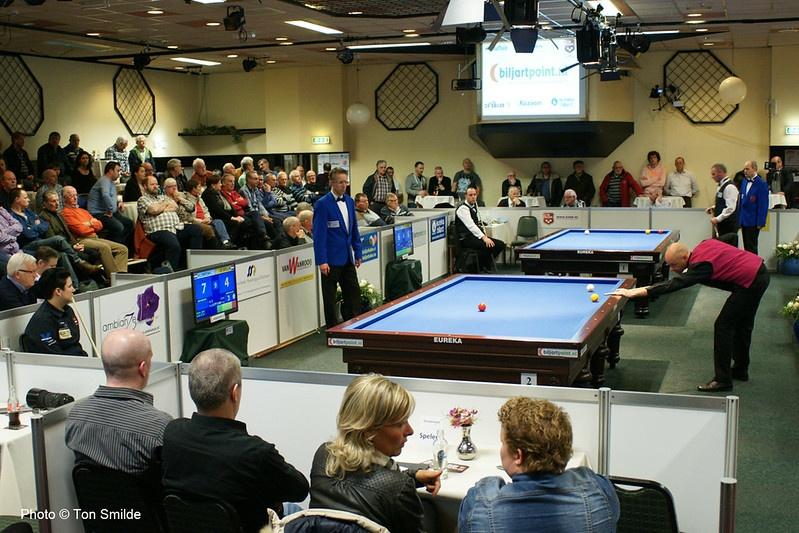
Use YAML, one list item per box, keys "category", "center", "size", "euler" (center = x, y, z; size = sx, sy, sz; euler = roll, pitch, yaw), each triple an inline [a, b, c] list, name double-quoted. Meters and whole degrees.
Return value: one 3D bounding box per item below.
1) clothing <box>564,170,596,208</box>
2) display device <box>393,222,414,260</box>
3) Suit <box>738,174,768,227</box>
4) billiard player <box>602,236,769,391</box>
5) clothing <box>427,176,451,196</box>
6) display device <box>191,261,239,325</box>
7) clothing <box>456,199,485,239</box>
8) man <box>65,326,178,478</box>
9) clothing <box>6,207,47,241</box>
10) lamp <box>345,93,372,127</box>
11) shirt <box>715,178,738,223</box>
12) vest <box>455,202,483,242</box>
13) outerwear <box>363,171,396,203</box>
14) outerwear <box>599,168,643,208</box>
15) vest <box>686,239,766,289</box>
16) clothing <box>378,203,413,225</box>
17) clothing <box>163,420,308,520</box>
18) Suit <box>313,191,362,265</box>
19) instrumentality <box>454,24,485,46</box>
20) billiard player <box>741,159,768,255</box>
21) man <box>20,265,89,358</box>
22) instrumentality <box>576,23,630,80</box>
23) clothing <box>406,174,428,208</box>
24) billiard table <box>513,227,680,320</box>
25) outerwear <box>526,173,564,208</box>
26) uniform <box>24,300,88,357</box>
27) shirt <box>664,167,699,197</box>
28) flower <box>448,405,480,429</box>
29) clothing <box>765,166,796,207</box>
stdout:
- category: "clothing"
  center: [4.468, -1.909, 16.472]
  size: [0.790, 0.978, 0.528]
  euler: [8, 34, 34]
- category: "display device"
  center: [0.054, -0.430, 10.830]
  size: [0.062, 0.533, 0.629]
  euler: [-1, 3, 23]
- category: "Suit"
  center: [6.203, -1.154, 11.679]
  size: [0.361, 0.875, 0.634]
  euler: [-6, 12, -16]
- category: "billiard player"
  center: [3.020, 0.525, 6.896]
  size: [1.646, 1.573, 0.609]
  euler: [-6, 10, -9]
- category: "clothing"
  center: [1.022, -2.073, 16.880]
  size: [0.618, 0.477, 0.578]
  euler: [0, 7, 6]
- category: "display device"
  center: [-2.056, 0.323, 7.485]
  size: [0.730, 0.654, 0.083]
  euler: [-13, -11, 33]
- category: "clothing"
  center: [1.279, -0.852, 12.101]
  size: [0.542, 0.647, 0.988]
  euler: [2, 10, 9]
- category: "man"
  center: [-1.662, 0.864, 4.066]
  size: [0.682, 0.975, 0.538]
  euler: [3, 14, 12]
- category: "clothing"
  center: [-4.876, -0.544, 8.623]
  size: [0.256, 0.440, 0.369]
  euler: [-12, 5, 21]
- category: "lamp"
  center: [-1.083, -4.067, 17.259]
  size: [0.784, 1.086, 0.795]
  euler: [0, 6, 9]
- category: "shirt"
  center: [5.783, -1.212, 11.783]
  size: [0.473, 0.784, 0.903]
  euler: [-1, 9, 12]
- category: "vest"
  center: [1.265, -0.845, 12.000]
  size: [0.532, 0.522, 0.951]
  euler: [-1, 14, 8]
- category: "outerwear"
  center: [-0.446, -1.937, 15.984]
  size: [0.545, 0.690, 0.922]
  euler: [3, 8, 29]
- category: "outerwear"
  center: [5.409, -1.915, 16.081]
  size: [1.092, 1.025, 0.537]
  euler: [5, 5, 37]
- category: "vest"
  center: [3.277, -0.014, 6.710]
  size: [0.607, 0.292, 0.473]
  euler: [26, 47, 8]
- category: "clothing"
  center: [-0.067, -0.945, 11.956]
  size: [0.406, 0.293, 0.708]
  euler: [21, 18, 36]
- category: "clothing"
  center: [-0.912, 1.122, 3.590]
  size: [0.447, 0.642, 0.391]
  euler: [10, 26, 14]
- category: "Suit"
  center: [-0.780, -0.476, 8.431]
  size: [0.663, 0.934, 0.163]
  euler: [-6, 9, -33]
- category: "instrumentality"
  center: [1.111, -3.681, 10.370]
  size: [0.392, 0.325, 0.729]
  euler: [-1, 7, 3]
- category: "billiard player"
  center: [6.254, -0.898, 11.759]
  size: [0.404, 1.923, 0.632]
  euler: [-6, 12, 1]
- category: "man"
  center: [-2.988, 0.394, 5.655]
  size: [0.476, 0.766, 0.217]
  euler: [-6, 9, -31]
- category: "instrumentality"
  center: [2.986, -3.207, 9.860]
  size: [0.486, 0.567, 2.077]
  euler: [2, 8, 22]
- category: "clothing"
  center: [0.412, -1.927, 16.505]
  size: [0.520, 0.790, 0.943]
  euler: [-1, 7, 1]
- category: "billiard table"
  center: [2.703, -0.154, 9.268]
  size: [1.425, 0.637, 2.415]
  euler: [0, 9, 21]
- category: "outerwear"
  center: [3.663, -1.961, 16.648]
  size: [0.867, 0.802, 0.741]
  euler: [2, 8, 21]
- category: "uniform"
  center: [-2.943, 0.570, 5.792]
  size: [0.271, 0.445, 0.517]
  euler: [-1, 9, 6]
- category: "shirt"
  center: [6.594, -1.873, 15.655]
  size: [0.971, 0.828, 0.550]
  euler: [2, 3, 31]
- category: "flower"
  center: [0.407, 0.942, 4.171]
  size: [0.140, 0.068, 0.137]
  euler: [-5, 8, -43]
- category: "clothing"
  center: [8.411, -1.787, 14.588]
  size: [0.392, 0.935, 0.799]
  euler: [-3, 7, -12]
